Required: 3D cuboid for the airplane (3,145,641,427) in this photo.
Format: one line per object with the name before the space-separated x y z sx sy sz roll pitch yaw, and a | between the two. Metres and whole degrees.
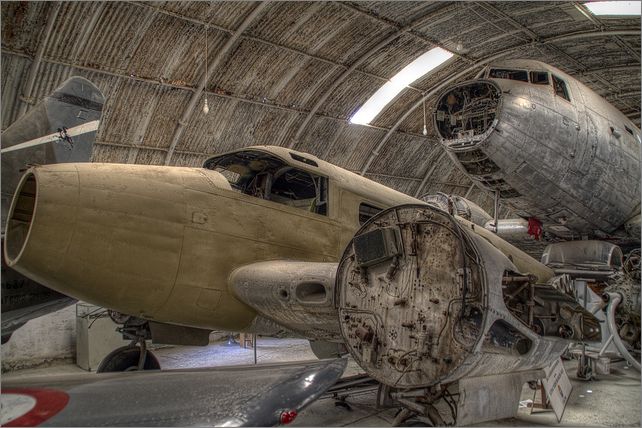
airplane | -0.613 0.764 8.663 7.225 2.488 6.695 17 -14 -25
